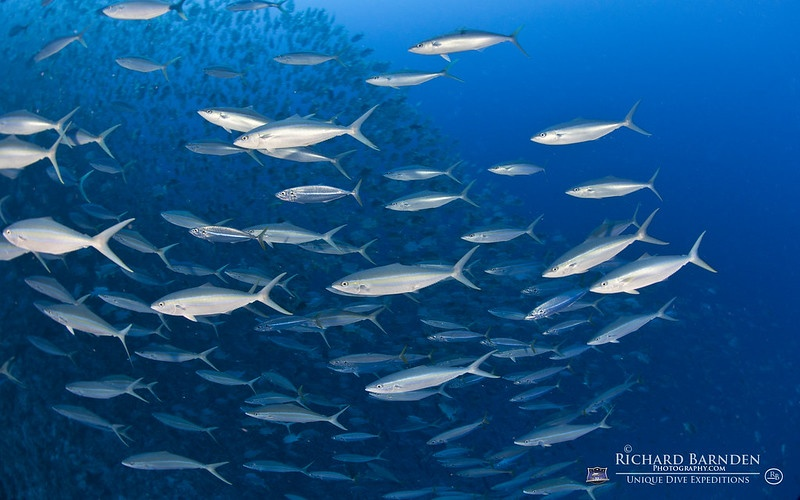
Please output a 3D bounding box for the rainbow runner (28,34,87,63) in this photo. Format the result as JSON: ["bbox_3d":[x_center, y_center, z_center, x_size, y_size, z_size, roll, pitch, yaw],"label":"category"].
[{"bbox_3d":[-6.617,-3.921,14.602,1.057,0.418,0.480,-9,27,-7],"label":"rainbow runner"}]
